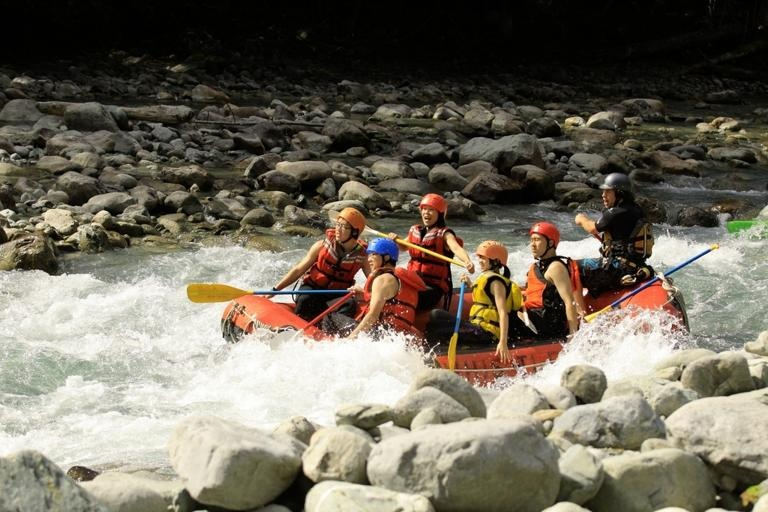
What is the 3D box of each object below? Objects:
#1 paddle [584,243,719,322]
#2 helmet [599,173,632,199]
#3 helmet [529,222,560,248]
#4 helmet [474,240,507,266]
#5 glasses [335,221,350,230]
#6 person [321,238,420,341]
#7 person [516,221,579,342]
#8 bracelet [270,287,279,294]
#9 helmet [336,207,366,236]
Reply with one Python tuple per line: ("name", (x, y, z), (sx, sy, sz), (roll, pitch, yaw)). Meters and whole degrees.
("paddle", (3.738, 0.403, 10.536), (2.405, 0.206, 0.245), (-24, 29, -6))
("helmet", (3.092, -0.956, 10.084), (0.433, 0.185, 0.279), (9, 3, 3))
("helmet", (2.064, -0.274, 9.416), (0.480, 0.283, 0.303), (-6, 12, -13))
("helmet", (1.277, -0.033, 8.973), (0.336, 0.289, 0.193), (-2, 11, 1))
("glasses", (-0.531, -0.388, 9.492), (0.203, 0.105, 0.069), (3, 12, 30))
("person", (-0.105, 0.387, 9.144), (1.148, 1.187, 0.786), (0, 11, 14))
("person", (1.841, 0.312, 9.641), (1.348, 1.365, 1.084), (-3, 10, 2))
("bracelet", (-1.404, 0.449, 9.787), (0.107, 0.027, 0.091), (4, 15, -5))
("helmet", (-0.392, -0.477, 9.594), (0.311, 0.350, 0.266), (-28, 25, -4))
